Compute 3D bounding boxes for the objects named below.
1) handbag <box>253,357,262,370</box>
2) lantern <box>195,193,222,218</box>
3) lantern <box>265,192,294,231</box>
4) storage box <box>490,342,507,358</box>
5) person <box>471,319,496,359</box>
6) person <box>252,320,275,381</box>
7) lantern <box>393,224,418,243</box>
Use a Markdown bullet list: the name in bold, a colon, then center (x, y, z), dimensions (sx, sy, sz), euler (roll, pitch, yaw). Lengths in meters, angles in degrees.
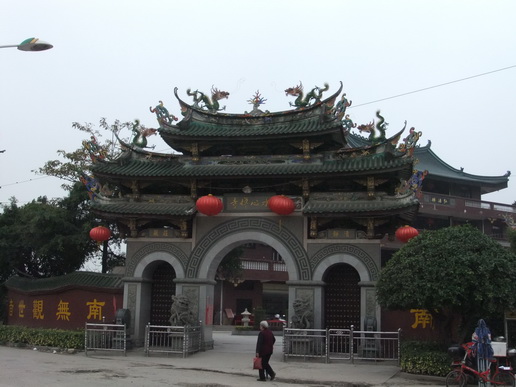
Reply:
- **handbag**: center (-0.016, 4.942, 27.006), dimensions (0.222, 0.341, 0.175), euler (2, -14, -3)
- **lantern**: center (-1.670, 0.418, 31.937), dimensions (0.804, 0.687, 0.767), euler (5, -8, -12)
- **lantern**: center (0.817, 0.506, 31.621), dimensions (0.796, 0.972, 0.772), euler (2, -4, 6)
- **storage box**: center (6.939, 4.441, 26.817), dimensions (0.415, 0.475, 0.750), euler (-2, -9, 22)
- **person**: center (6.349, 4.136, 26.340), dimensions (0.533, 1.105, 0.341), euler (-2, -14, 13)
- **person**: center (0.181, 4.667, 27.480), dimensions (0.816, 1.529, 0.714), euler (4, -6, -3)
- **lantern**: center (5.003, 1.388, 31.460), dimensions (0.612, 0.622, 0.634), euler (-2, -12, 9)
